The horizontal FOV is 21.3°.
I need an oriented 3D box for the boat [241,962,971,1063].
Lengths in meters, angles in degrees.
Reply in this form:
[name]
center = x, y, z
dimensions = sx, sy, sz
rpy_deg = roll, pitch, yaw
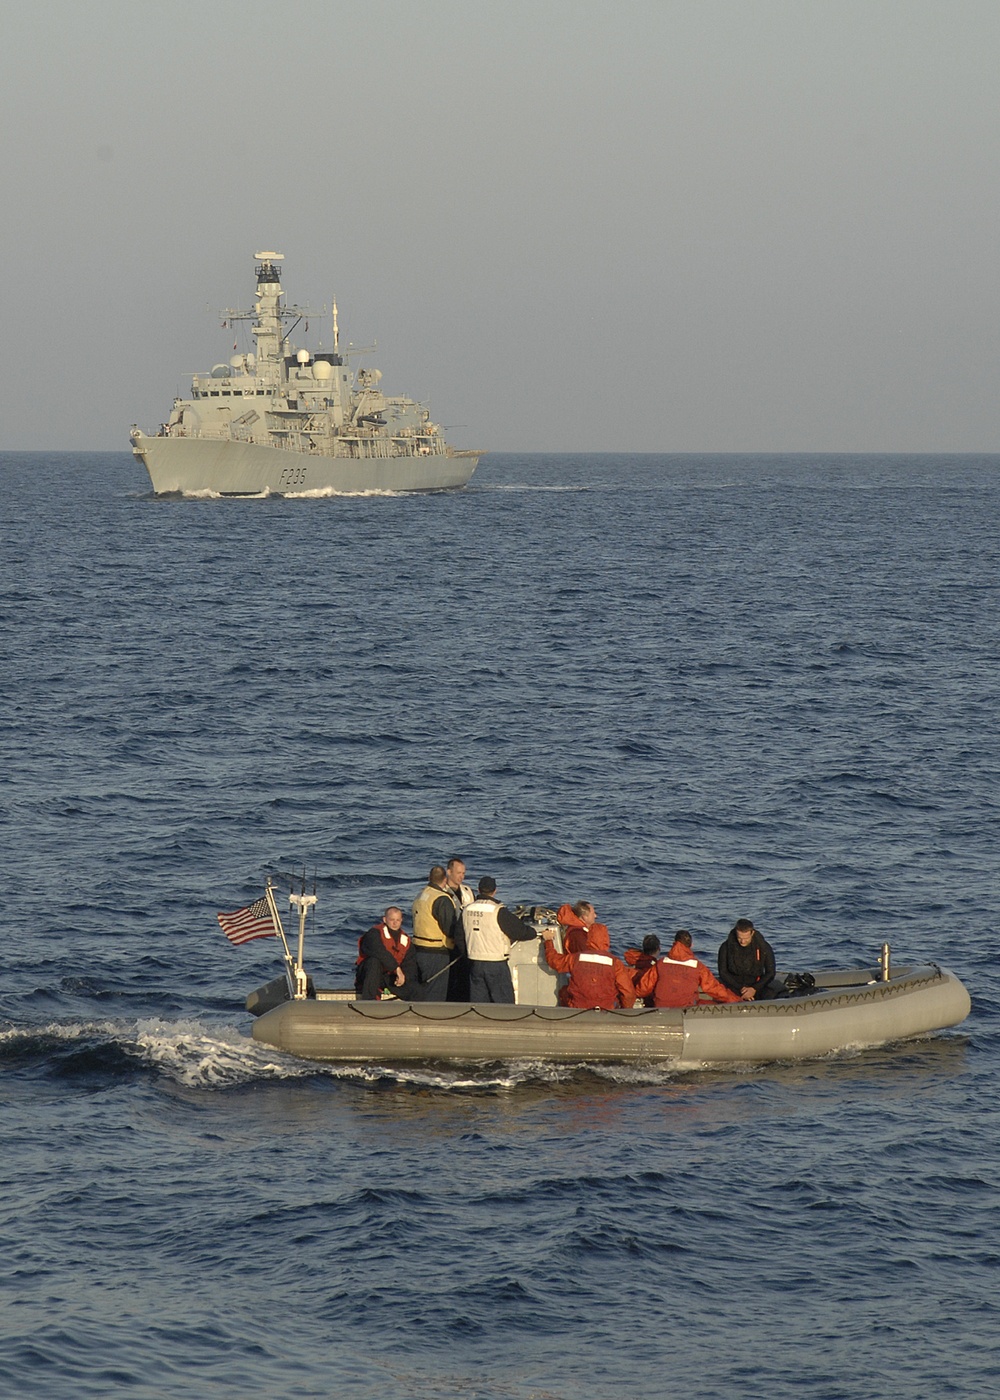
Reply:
[boat]
center = 1.075, 3.129, 25.315
dimensions = 4.809, 0.734, 2.122
rpy_deg = 1, -6, -3

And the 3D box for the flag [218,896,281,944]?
[flag]
center = -2.423, 2.156, 25.584
dimensions = 0.549, 0.542, 0.762
rpy_deg = 0, 12, -6
